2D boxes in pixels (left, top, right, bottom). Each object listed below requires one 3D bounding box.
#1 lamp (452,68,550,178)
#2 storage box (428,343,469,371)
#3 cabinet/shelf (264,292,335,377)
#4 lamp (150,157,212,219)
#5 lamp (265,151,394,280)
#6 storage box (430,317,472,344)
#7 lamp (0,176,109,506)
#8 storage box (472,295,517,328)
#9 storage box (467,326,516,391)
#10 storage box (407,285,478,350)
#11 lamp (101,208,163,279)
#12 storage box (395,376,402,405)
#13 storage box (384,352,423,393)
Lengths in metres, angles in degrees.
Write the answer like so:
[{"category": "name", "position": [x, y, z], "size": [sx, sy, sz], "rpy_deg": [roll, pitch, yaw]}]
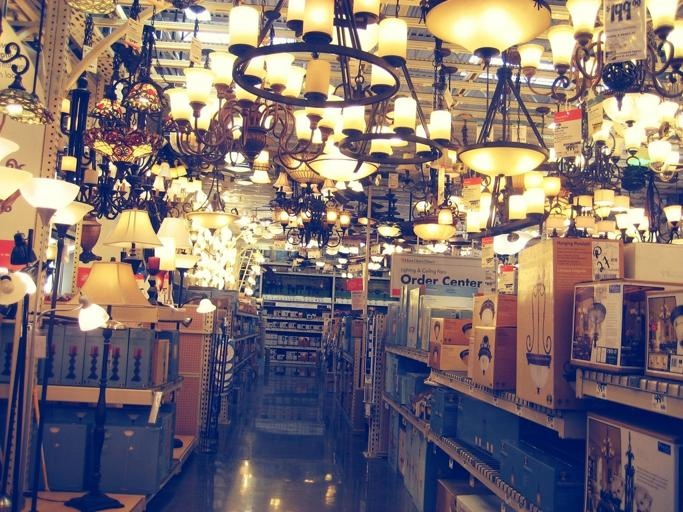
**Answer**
[{"category": "lamp", "position": [1.269, -1.075, 4.935], "size": [0.673, 0.892, 0.704], "rpy_deg": [2, -5, -2]}, {"category": "storage box", "position": [0.923, 0.866, 5.453], "size": [0.221, 0.156, 0.236], "rpy_deg": [2, -9, -6]}, {"category": "cabinet/shelf", "position": [-1.661, 2.601, 22.287], "size": [2.303, 2.387, 4.525], "rpy_deg": [2, -4, -6]}, {"category": "lamp", "position": [-2.322, -0.965, 8.531], "size": [0.502, 0.796, 0.763], "rpy_deg": [3, 30, -36]}, {"category": "lamp", "position": [-0.252, -0.630, 9.586], "size": [1.346, 2.091, 1.448], "rpy_deg": [3, -1, -14]}, {"category": "storage box", "position": [0.967, 0.652, 5.521], "size": [0.233, 0.163, 0.244], "rpy_deg": [1, -3, 0]}, {"category": "lamp", "position": [-2.252, 0.682, 4.780], "size": [0.490, 2.613, 1.171], "rpy_deg": [3, -3, -24]}, {"category": "storage box", "position": [1.109, 0.459, 4.488], "size": [0.192, 0.248, 0.373], "rpy_deg": [2, -7, -8]}, {"category": "storage box", "position": [1.107, 0.702, 4.488], "size": [0.235, 0.394, 0.444], "rpy_deg": [3, -6, -10]}, {"category": "storage box", "position": [1.052, 0.632, 7.007], "size": [0.700, 0.708, 0.553], "rpy_deg": [0, 9, -19]}, {"category": "lamp", "position": [-1.831, -0.218, 5.592], "size": [0.332, 0.520, 0.343], "rpy_deg": [26, 33, 8]}, {"category": "storage box", "position": [0.645, 1.506, 7.080], "size": [0.083, 0.245, 0.276], "rpy_deg": [2, -12, -4]}, {"category": "storage box", "position": [0.683, 1.465, 7.843], "size": [0.325, 0.450, 0.628], "rpy_deg": [0, -11, 4]}]
